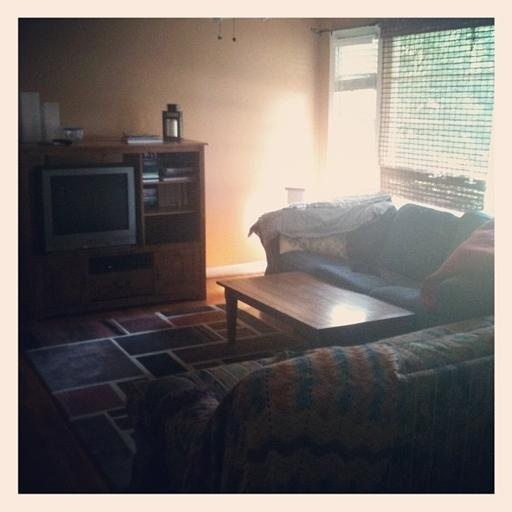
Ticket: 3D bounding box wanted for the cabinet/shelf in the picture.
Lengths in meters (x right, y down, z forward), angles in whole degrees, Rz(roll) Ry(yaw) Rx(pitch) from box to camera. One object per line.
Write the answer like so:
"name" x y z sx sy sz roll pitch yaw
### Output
"cabinet/shelf" -0.822 -0.153 2.559 0.807 0.853 0.365 -3 12 -18
